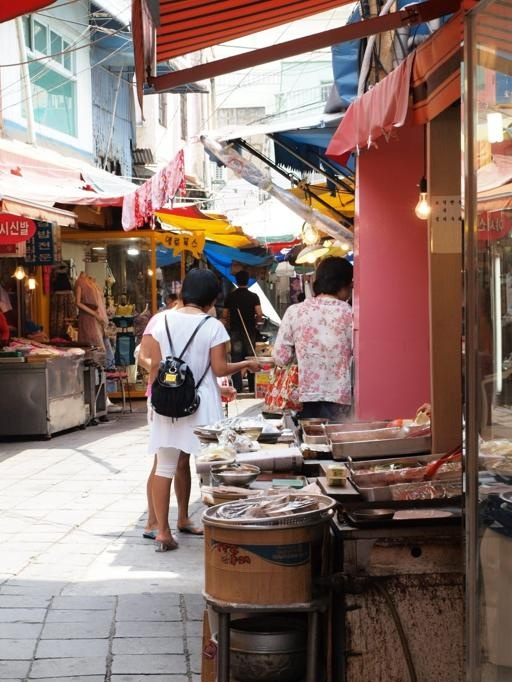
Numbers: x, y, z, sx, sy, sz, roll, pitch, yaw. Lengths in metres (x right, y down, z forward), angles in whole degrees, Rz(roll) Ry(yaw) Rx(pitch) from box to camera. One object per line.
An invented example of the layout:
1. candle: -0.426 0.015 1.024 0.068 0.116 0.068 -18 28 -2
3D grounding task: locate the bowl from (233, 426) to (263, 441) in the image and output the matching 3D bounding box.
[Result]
1. bowl: -0.047 0.479 3.631 0.109 0.077 0.124 0 1 28

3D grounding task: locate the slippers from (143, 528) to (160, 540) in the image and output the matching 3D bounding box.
1. slippers: -0.762 1.395 5.130 0.067 0.062 0.162 2 -7 -14

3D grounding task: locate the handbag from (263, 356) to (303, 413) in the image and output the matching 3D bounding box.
1. handbag: 0.199 0.318 5.166 0.186 0.420 0.457 6 5 -16

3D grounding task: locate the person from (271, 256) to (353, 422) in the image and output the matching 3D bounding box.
1. person: 0.389 -0.005 4.970 0.562 1.143 0.357 -1 1 7

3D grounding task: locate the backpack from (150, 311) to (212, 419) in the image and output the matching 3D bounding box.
1. backpack: -0.484 0.149 4.497 0.340 0.624 0.372 7 10 28

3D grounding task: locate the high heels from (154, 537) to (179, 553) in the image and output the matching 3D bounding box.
1. high heels: -0.611 1.394 4.879 0.064 0.073 0.177 2 1 17
